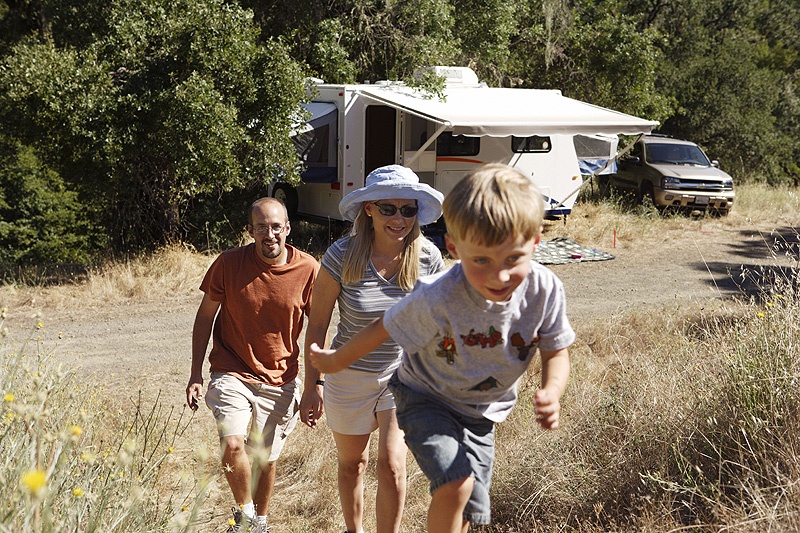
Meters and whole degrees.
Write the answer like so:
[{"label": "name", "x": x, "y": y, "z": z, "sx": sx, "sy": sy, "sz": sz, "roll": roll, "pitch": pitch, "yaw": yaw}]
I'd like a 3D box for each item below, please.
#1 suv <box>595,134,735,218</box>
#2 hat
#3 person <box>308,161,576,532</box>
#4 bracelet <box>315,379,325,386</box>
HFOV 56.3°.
[{"label": "suv", "x": 6.653, "y": -2.245, "z": 19.186, "sx": 1.588, "sy": 1.476, "sz": 3.380, "roll": -1, "pitch": 15, "yaw": -18}, {"label": "hat", "x": 0.015, "y": -0.518, "z": 5.447, "sx": 0.465, "sy": 0.238, "sz": 0.518, "roll": -5, "pitch": -6, "yaw": 12}, {"label": "person", "x": 0.365, "y": 0.522, "z": 4.366, "sx": 1.241, "sy": 2.204, "sz": 0.599, "roll": 2, "pitch": 9, "yaw": 15}, {"label": "bracelet", "x": -0.581, "y": 0.853, "z": 5.407, "sx": 0.027, "sy": 0.065, "sz": 0.083, "roll": 3, "pitch": 3, "yaw": 20}]
